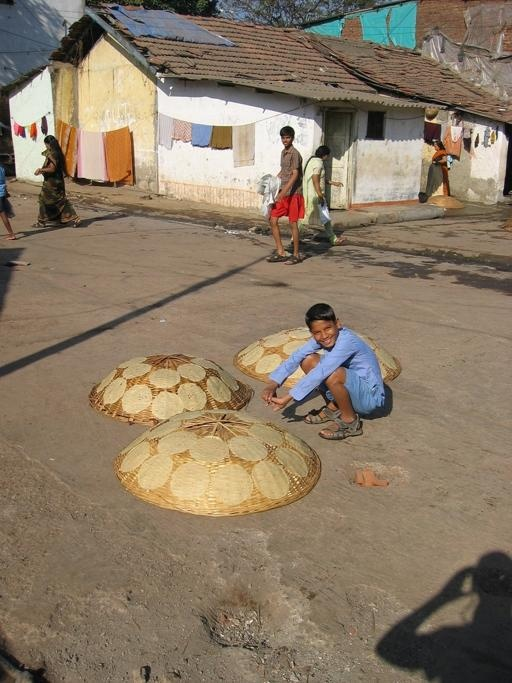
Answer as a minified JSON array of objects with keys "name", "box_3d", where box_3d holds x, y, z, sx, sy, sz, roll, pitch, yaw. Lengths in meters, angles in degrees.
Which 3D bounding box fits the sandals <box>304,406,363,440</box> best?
[{"name":"sandals","box_3d":[0.491,0.518,3.584,0.231,0.075,0.267,3,14,-14]}]

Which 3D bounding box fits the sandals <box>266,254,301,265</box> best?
[{"name":"sandals","box_3d":[0.425,-1.200,8.388,0.338,0.087,0.209,2,6,-25]}]

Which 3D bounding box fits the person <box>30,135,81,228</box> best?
[{"name":"person","box_3d":[-3.600,-2.917,10.444,0.748,1.654,1.027,-3,14,-19]}]

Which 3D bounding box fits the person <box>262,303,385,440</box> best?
[{"name":"person","box_3d":[0.413,0.182,3.563,0.864,0.738,0.457,-3,12,-14]}]
